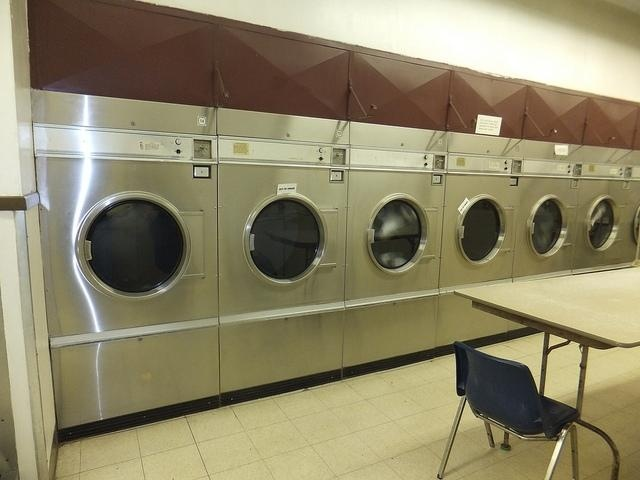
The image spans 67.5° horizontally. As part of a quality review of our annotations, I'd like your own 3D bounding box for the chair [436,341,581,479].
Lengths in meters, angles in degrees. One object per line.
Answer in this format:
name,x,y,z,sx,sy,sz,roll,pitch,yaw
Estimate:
chair,1.300,1.233,3.348,0.552,0.934,0.621,-20,22,-35
